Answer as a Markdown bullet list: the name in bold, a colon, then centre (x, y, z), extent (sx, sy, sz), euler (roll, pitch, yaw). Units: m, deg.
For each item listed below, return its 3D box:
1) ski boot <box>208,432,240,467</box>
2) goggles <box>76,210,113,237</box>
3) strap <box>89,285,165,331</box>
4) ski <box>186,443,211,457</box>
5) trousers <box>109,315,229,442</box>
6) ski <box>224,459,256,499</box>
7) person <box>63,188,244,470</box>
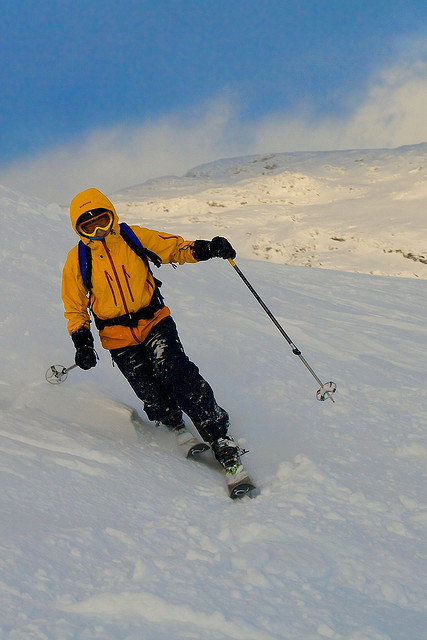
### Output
- **ski boot**: centre (0.086, 0.954, 4.343), extent (0.160, 0.093, 0.244), euler (-22, 35, -8)
- **goggles**: centre (-0.842, -0.694, 4.254), extent (0.180, 0.092, 0.218), euler (-32, -1, 2)
- **strap**: centre (-0.645, -0.110, 4.523), extent (0.404, 0.129, 0.363), euler (-17, -4, -27)
- **ski**: centre (-0.123, 1.025, 4.660), extent (0.140, 0.033, 0.110), euler (-14, 6, 43)
- **trousers**: centre (-0.327, 0.476, 4.494), extent (0.461, 0.932, 0.897), euler (-11, 20, -43)
- **ski**: centre (0.184, 1.126, 4.153), extent (0.189, 0.163, 0.267), euler (1, 14, -7)
- **person**: centre (-0.436, -0.015, 4.522), extent (1.316, 1.868, 0.659), euler (8, 16, 16)
